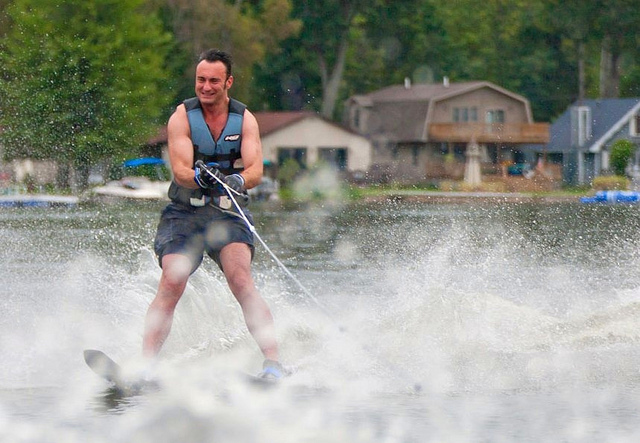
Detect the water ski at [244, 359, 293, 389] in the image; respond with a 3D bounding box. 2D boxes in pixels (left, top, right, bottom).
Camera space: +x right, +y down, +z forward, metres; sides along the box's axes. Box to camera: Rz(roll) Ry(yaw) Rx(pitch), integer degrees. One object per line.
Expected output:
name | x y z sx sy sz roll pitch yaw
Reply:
water ski | -0.664 1.965 16.062 0.234 0.270 0.666 -1 6 2
